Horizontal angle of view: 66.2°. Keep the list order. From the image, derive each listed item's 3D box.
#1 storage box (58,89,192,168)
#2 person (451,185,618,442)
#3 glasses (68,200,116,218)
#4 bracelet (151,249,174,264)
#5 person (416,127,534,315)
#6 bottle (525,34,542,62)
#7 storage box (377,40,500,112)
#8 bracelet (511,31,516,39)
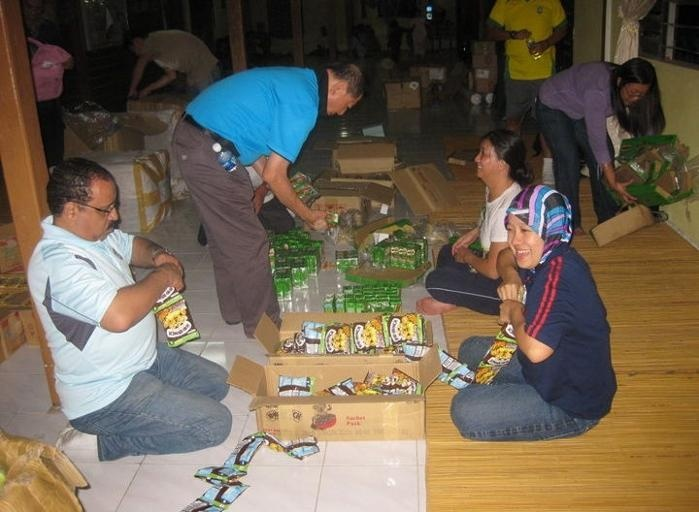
[{"bbox_3d":[-2.747,-1.499,6.418,1.126,0.390,0.816,2,25,20],"label":"storage box"},{"bbox_3d":[0.875,0.317,2.792,0.691,1.366,0.764,-11,25,-17],"label":"person"},{"bbox_3d":[-1.256,-0.232,2.644,0.204,0.097,0.072,-20,29,-35],"label":"glasses"},{"bbox_3d":[-1.105,-0.004,3.145,0.099,0.088,0.091,8,7,-18],"label":"bracelet"},{"bbox_3d":[0.951,-0.174,3.970,0.884,1.460,0.755,-2,23,7],"label":"person"},{"bbox_3d":[2.371,-2.652,6.859,0.165,0.291,0.216,-5,24,-4],"label":"bottle"},{"bbox_3d":[2.018,-3.543,12.021,2.310,1.393,2.215,-2,25,3],"label":"storage box"},{"bbox_3d":[2.133,-2.839,6.944,0.072,0.087,0.157,2,24,11],"label":"bracelet"}]
